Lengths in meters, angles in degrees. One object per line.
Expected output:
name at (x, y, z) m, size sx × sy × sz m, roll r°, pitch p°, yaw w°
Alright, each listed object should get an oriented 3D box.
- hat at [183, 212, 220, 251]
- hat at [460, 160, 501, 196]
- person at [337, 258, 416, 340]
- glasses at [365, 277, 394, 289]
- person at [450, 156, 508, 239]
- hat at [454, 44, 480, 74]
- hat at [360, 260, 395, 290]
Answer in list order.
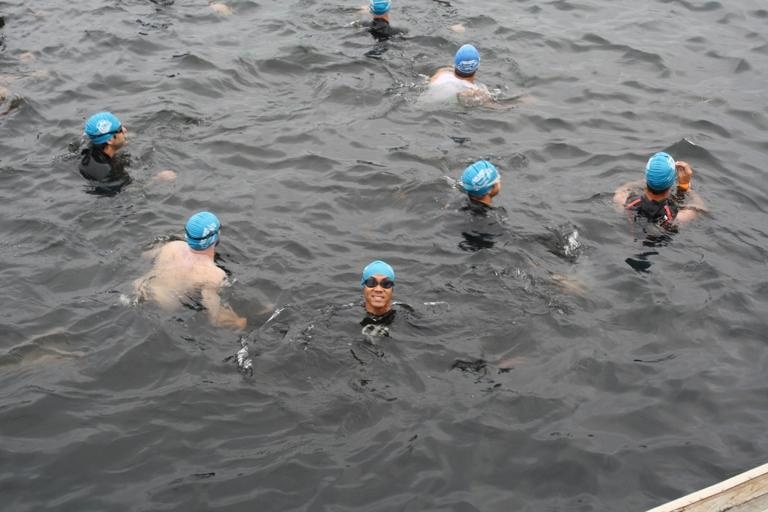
hat at (-3.448, -0.536, 16.098) m, size 0.752 × 0.604 × 0.724 m, roll 12°, pitch 56°, yaw -5°
hat at (1.956, -1.505, 17.640) m, size 0.680 × 0.973 × 0.611 m, roll -14°, pitch 61°, yaw -13°
person at (-0.153, 0.878, 15.603) m, size 2.042 × 0.723 × 1.023 m, roll 1°, pitch 90°, yaw -6°
glasses at (-0.089, 0.495, 15.250) m, size 0.477 × 0.167 × 0.188 m, roll 1°, pitch 56°, yaw -3°
person at (1.973, -1.141, 17.638) m, size 0.990 × 1.405 × 1.308 m, roll -26°, pitch 47°, yaw -20°
hat at (2.074, -4.926, 20.976) m, size 0.777 × 0.727 × 0.735 m, roll 3°, pitch 96°, yaw 5°
hat at (-0.127, 0.344, 15.541) m, size 0.605 × 0.558 × 0.271 m, roll 4°, pitch 96°, yaw -1°
